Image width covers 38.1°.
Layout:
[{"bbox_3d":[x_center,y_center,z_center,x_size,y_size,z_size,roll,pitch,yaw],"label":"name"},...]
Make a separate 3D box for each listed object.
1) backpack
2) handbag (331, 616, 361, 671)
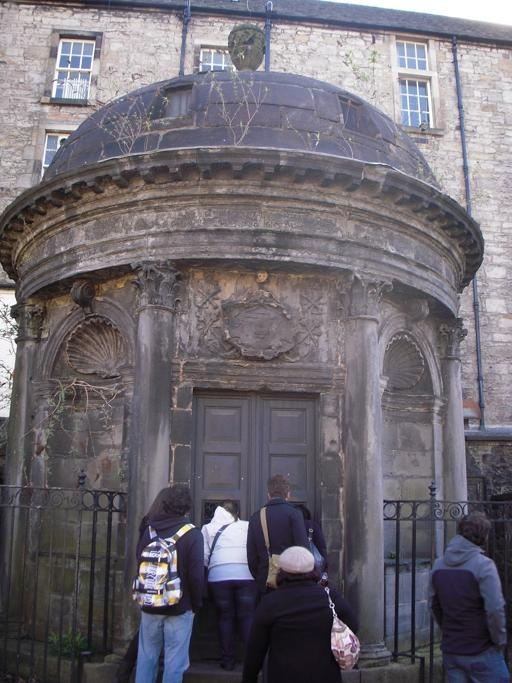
[{"bbox_3d":[-0.734,1.783,5.934,0.457,0.622,0.224,1,-13,-5],"label":"backpack"},{"bbox_3d":[0.545,1.871,4.582,0.156,0.364,0.469,-2,-13,8],"label":"handbag"}]
